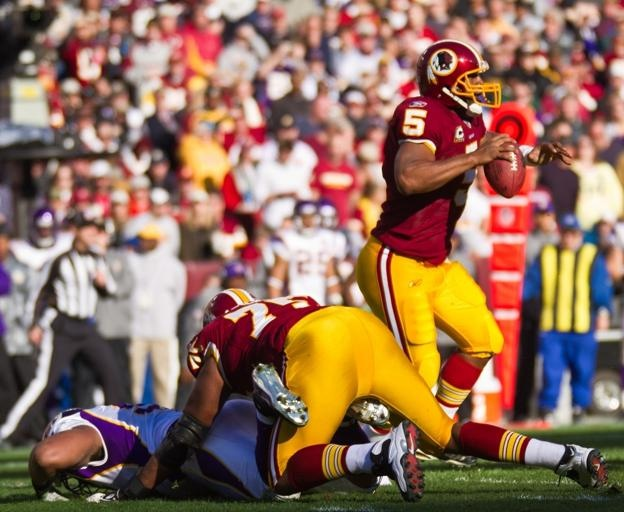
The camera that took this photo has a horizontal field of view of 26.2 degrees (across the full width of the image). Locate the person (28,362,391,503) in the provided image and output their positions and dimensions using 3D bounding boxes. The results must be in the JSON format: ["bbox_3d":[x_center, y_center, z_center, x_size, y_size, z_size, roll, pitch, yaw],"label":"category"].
[{"bbox_3d":[-0.755,1.207,7.881,2.011,0.700,1.170,-5,-10,-32],"label":"person"}]

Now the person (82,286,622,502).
[{"bbox_3d":[0.226,0.734,7.121,1.609,0.763,1.290,5,0,37],"label":"person"}]

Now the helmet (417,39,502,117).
[{"bbox_3d":[0.847,-1.055,7.967,0.523,0.480,0.394,1,5,-1],"label":"helmet"}]

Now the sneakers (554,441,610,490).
[{"bbox_3d":[1.420,1.099,7.034,0.164,0.141,0.373,-5,-21,12],"label":"sneakers"}]

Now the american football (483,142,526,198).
[{"bbox_3d":[1.138,-0.478,7.874,0.258,0.268,0.416,-6,-13,-2],"label":"american football"}]

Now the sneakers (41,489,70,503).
[{"bbox_3d":[-1.449,1.340,7.503,0.178,0.085,0.065,1,-2,6],"label":"sneakers"}]

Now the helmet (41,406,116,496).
[{"bbox_3d":[-1.462,1.054,7.577,0.413,0.477,0.560,13,-12,-28],"label":"helmet"}]
